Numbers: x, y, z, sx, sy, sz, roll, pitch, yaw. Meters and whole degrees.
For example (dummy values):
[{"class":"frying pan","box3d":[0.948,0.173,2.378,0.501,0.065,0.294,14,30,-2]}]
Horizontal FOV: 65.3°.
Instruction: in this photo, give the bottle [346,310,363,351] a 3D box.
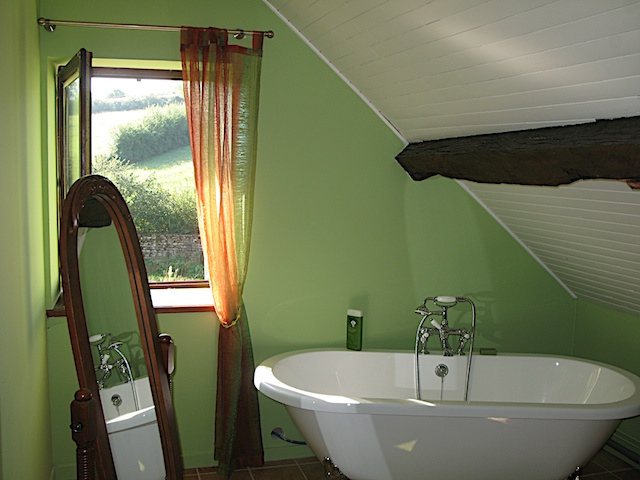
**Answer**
[{"class":"bottle","box3d":[0.251,0.631,3.548,0.113,0.273,0.139,-1,7,7]}]

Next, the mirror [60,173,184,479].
[{"class":"mirror","box3d":[-0.956,0.499,2.429,0.249,1.626,0.548,0,7,15]}]
